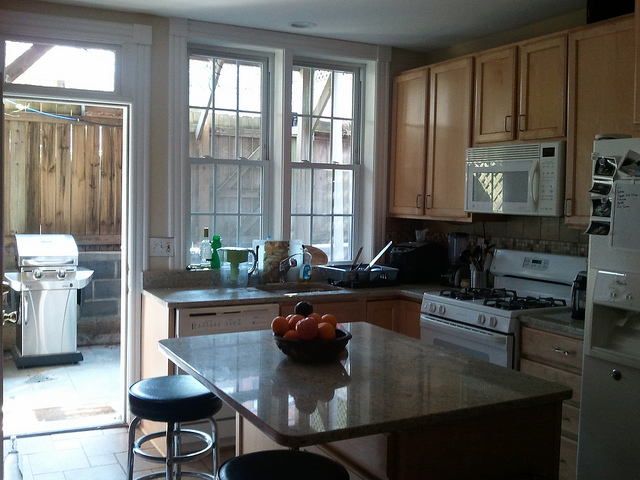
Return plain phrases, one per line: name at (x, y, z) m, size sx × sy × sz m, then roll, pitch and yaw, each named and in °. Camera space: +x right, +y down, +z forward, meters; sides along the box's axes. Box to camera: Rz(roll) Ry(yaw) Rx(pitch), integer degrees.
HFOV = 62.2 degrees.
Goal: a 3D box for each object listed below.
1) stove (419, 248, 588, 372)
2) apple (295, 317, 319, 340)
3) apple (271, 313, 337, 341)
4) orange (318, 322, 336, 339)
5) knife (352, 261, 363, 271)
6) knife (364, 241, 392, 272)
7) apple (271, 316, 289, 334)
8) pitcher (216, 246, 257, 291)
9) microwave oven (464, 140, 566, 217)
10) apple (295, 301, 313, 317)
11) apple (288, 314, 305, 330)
stove at (1.311, 0.602, 3.792) m, size 0.828 × 0.984 × 1.035 m, roll -3°, pitch 3°, yaw -25°
apple at (-0.054, 0.355, 2.181) m, size 0.080 × 0.083 × 0.084 m, roll 2°, pitch 8°, yaw 12°
apple at (-0.067, 0.347, 2.223) m, size 0.196 × 0.110 × 0.189 m, roll -1°, pitch 7°, yaw -42°
orange at (0.016, 0.378, 2.209) m, size 0.059 × 0.074 × 0.060 m, roll -28°, pitch -5°, yaw -14°
knife at (0.316, 0.209, 4.396) m, size 0.118 × 0.032 × 0.036 m, roll -43°, pitch 37°, yaw -14°
knife at (0.505, 0.140, 4.594) m, size 0.047 × 0.287 × 0.052 m, roll 43°, pitch 34°, yaw 10°
apple at (-0.168, 0.356, 2.230) m, size 0.063 × 0.080 × 0.065 m, roll -2°, pitch -6°, yaw 25°
pitcher at (-0.631, 0.208, 4.106) m, size 0.304 × 0.314 × 0.292 m, roll -3°, pitch 5°, yaw -28°
microwave oven at (1.446, -0.429, 3.842) m, size 0.449 × 0.485 × 0.718 m, roll -2°, pitch 5°, yaw -40°
apple at (-0.072, 0.300, 2.342) m, size 0.062 × 0.077 × 0.062 m, roll 1°, pitch 7°, yaw 12°
apple at (-0.100, 0.337, 2.221) m, size 0.053 × 0.067 × 0.054 m, roll -6°, pitch 5°, yaw -15°
